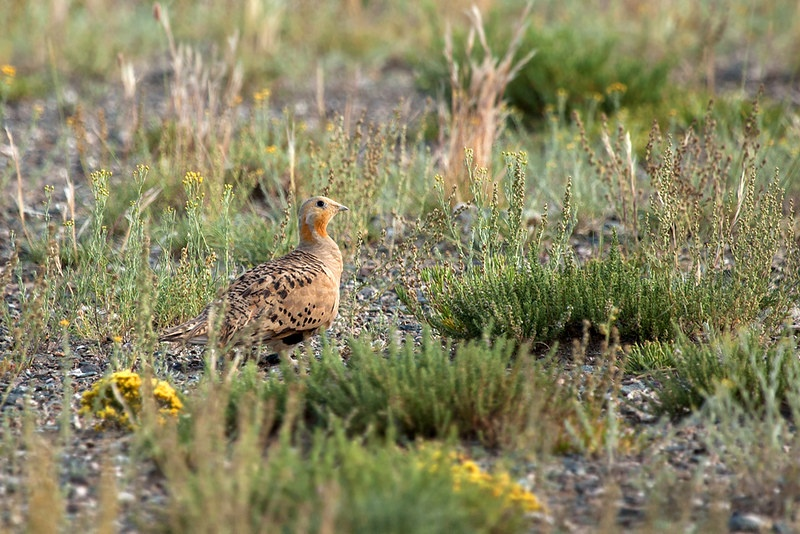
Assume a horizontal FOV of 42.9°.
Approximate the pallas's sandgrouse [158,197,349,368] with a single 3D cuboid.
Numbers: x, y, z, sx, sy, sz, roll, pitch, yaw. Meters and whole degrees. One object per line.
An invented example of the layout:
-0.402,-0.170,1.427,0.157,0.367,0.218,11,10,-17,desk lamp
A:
-1.016,0.086,7.105,1.473,1.151,0.698,-3,8,-33,pallas's sandgrouse
